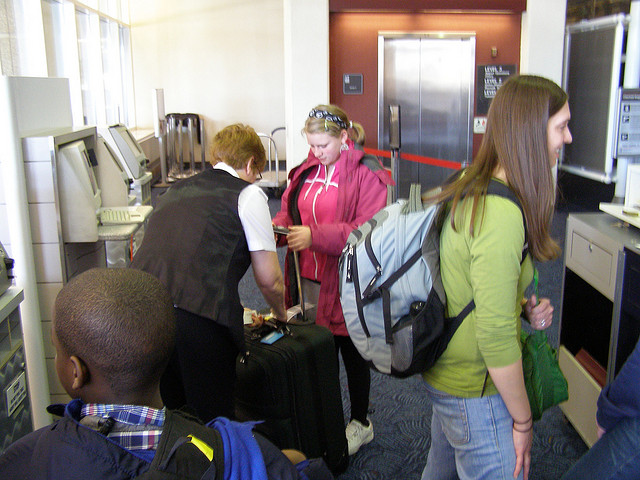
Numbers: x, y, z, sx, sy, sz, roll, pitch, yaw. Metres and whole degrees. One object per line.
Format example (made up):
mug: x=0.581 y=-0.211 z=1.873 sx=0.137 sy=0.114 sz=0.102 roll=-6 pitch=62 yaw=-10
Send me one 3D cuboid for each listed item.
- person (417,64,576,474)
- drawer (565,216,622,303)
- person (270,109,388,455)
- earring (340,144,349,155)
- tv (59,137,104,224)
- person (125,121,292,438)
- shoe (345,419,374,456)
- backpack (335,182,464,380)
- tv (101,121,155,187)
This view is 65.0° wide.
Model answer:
person: x=0.829 y=0.349 z=2.296 sx=0.478 sy=2.126 sz=1.392 roll=5 pitch=19 yaw=27
drawer: x=1.603 y=0.078 z=2.798 sx=0.211 sy=0.312 sz=0.455 roll=-10 pitch=23 yaw=-6
person: x=0.006 y=0.291 z=2.990 sx=0.690 sy=2.137 sz=0.674 roll=-11 pitch=16 yaw=-40
earring: x=0.140 y=-0.511 z=2.806 sx=0.050 sy=0.032 sz=0.064 roll=-8 pitch=19 yaw=-9
tv: x=-1.737 y=-0.412 z=3.693 sx=0.180 sy=0.628 sz=0.908 roll=-10 pitch=19 yaw=-22
person: x=-0.510 y=0.360 z=2.469 sx=0.622 sy=1.743 sz=0.589 roll=8 pitch=10 yaw=7
shoe: x=0.224 y=1.123 z=2.958 sx=0.092 sy=0.135 sz=0.277 roll=4 pitch=13 yaw=30
backpack: x=0.341 y=0.158 z=1.961 sx=0.432 sy=0.713 sz=0.540 roll=-2 pitch=13 yaw=7
tv: x=-2.159 y=-0.921 z=5.636 sx=0.347 sy=0.699 sz=0.676 roll=-16 pitch=15 yaw=-9
